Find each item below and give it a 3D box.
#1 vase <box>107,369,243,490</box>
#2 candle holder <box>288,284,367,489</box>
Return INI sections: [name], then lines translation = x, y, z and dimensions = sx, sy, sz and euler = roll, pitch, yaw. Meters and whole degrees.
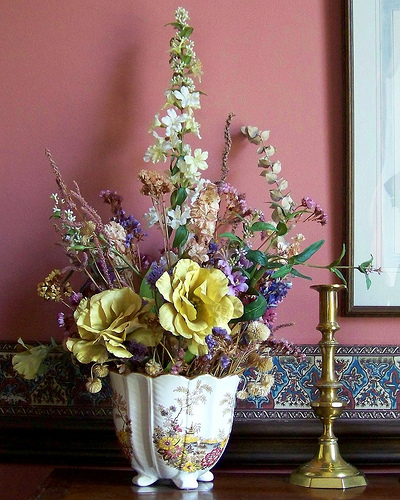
[vase]
translation = -0.031, 0.248, 0.917
dimensions = 0.252, 0.157, 0.162
euler = 3, -2, 16
[candle holder]
translation = 0.209, 0.214, 0.948
dimensions = 0.121, 0.317, 0.168
euler = -1, -6, 10
